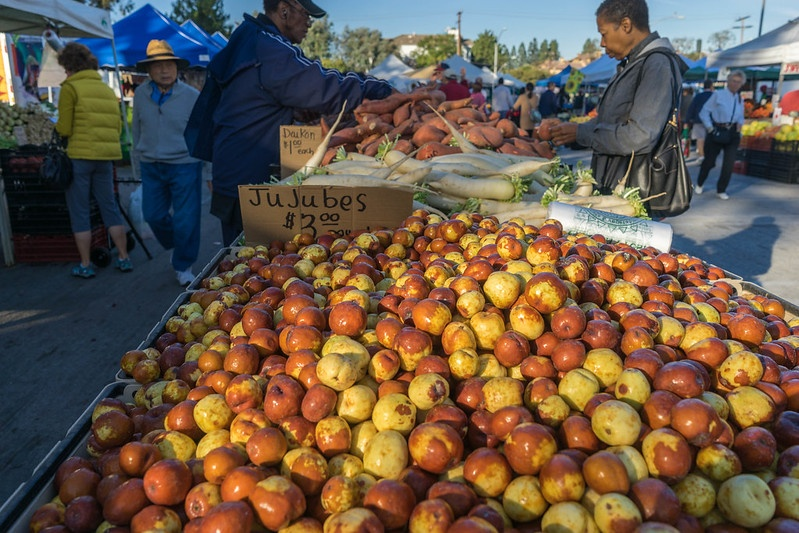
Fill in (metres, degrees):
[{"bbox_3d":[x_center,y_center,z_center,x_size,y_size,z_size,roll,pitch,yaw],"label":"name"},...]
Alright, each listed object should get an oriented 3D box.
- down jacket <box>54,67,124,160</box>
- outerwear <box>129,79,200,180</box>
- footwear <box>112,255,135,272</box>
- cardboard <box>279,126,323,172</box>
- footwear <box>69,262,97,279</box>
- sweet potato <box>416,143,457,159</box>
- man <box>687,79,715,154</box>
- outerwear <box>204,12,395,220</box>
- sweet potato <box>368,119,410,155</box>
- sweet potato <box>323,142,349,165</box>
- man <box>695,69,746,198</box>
[{"bbox_3d":[-3.808,-1.809,6.922,0.723,1.083,0.363,-13,25,-30],"label":"down jacket"},{"bbox_3d":[-2.825,-1.712,6.801,0.712,0.899,0.483,-1,22,-4],"label":"outerwear"},{"bbox_3d":[-3.740,-0.025,7.701,0.127,0.160,0.315,-6,7,-42],"label":"footwear"},{"bbox_3d":[-0.924,-1.125,5.376,0.445,0.617,0.070,6,22,-10],"label":"cardboard"},{"bbox_3d":[-4.143,0.063,7.390,0.352,0.170,0.153,8,19,31],"label":"footwear"},{"bbox_3d":[0.357,-1.110,5.435,0.256,0.130,0.203,-4,13,1],"label":"sweet potato"},{"bbox_3d":[7.899,-3.910,14.932,0.687,2.017,0.621,3,35,16],"label":"man"},{"bbox_3d":[-1.315,-1.828,6.290,1.904,1.980,1.630,-15,35,-27],"label":"outerwear"},{"bbox_3d":[-0.114,-1.269,5.624,0.607,0.136,0.156,-36,36,-20],"label":"sweet potato"},{"bbox_3d":[-0.631,-1.067,5.466,0.239,0.091,0.190,-18,37,2],"label":"sweet potato"},{"bbox_3d":[6.763,-2.709,11.901,0.834,2.508,0.777,7,9,21],"label":"man"}]
